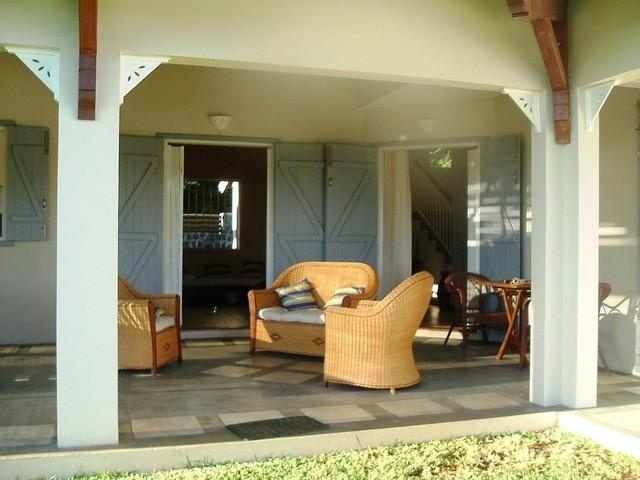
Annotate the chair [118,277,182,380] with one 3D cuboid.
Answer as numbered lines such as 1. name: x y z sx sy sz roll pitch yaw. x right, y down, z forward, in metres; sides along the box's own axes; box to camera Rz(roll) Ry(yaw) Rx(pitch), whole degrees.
1. chair: -1.902 0.951 6.214 0.832 1.214 0.958 0 1 10

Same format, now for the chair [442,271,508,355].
1. chair: 2.088 0.937 7.159 0.943 1.235 0.893 1 -5 -21

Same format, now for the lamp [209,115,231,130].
1. lamp: -1.424 -1.680 7.600 0.216 0.150 0.226 -3 4 16

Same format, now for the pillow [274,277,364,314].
1. pillow: -0.067 0.695 6.569 0.749 0.262 0.481 3 5 21

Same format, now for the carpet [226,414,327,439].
1. carpet: -0.335 1.466 4.200 0.768 0.028 0.421 0 4 -20
